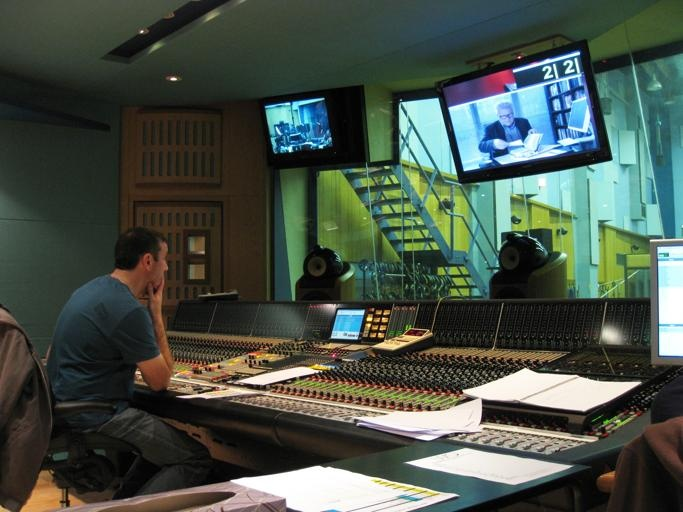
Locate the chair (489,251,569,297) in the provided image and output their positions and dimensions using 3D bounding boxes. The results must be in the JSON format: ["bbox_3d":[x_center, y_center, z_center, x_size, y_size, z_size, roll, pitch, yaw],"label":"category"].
[{"bbox_3d":[1.262,0.131,3.572,0.442,0.378,0.302,1,-6,-4],"label":"chair"}]

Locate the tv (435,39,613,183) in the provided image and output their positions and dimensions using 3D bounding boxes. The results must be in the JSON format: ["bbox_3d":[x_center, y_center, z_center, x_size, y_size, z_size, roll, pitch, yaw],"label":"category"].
[{"bbox_3d":[1.381,-1.117,4.011,1.380,0.881,0.159,-6,13,46],"label":"tv"}]
